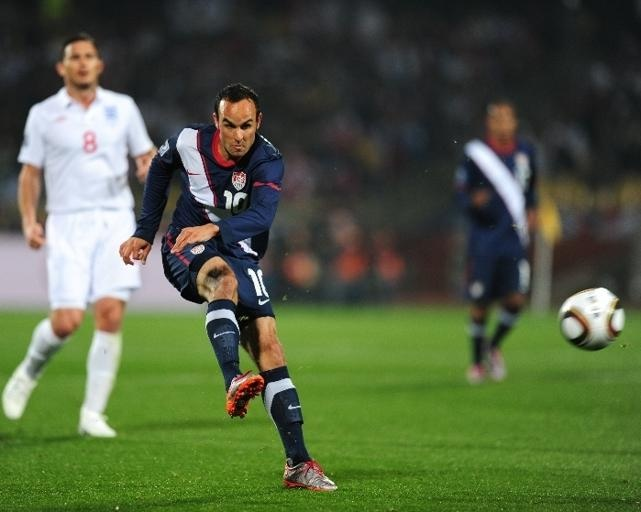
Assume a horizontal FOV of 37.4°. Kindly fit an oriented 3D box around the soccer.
[{"bbox_3d":[1.677,0.395,5.997,0.366,0.425,0.373,0,-6,2],"label":"soccer"}]

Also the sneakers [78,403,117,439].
[{"bbox_3d":[-1.513,1.122,6.451,0.253,0.198,0.201,1,4,-4],"label":"sneakers"}]

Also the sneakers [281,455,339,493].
[{"bbox_3d":[-0.075,1.250,5.334,0.352,0.178,0.163,0,-11,33],"label":"sneakers"}]

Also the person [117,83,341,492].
[{"bbox_3d":[-0.516,0.157,5.460,1.221,2.256,0.771,4,5,37],"label":"person"}]

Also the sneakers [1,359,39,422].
[{"bbox_3d":[-2.047,0.965,6.509,0.174,0.453,0.152,-25,-43,34],"label":"sneakers"}]

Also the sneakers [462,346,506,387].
[{"bbox_3d":[1.180,0.846,6.984,0.200,0.214,0.442,47,22,17],"label":"sneakers"}]

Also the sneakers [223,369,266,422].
[{"bbox_3d":[-0.420,0.726,5.031,0.120,0.321,0.160,23,26,-27],"label":"sneakers"}]
